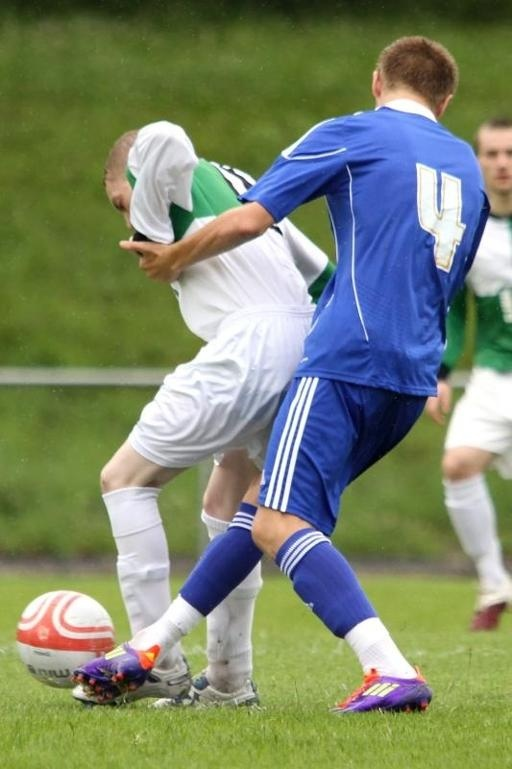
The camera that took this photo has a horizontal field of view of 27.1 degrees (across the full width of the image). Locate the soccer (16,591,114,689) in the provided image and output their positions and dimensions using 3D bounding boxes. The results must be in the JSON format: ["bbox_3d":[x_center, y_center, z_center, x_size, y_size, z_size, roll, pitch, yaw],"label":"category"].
[{"bbox_3d":[-0.511,0.684,2.867,0.267,0.252,0.247,2,3,-24],"label":"soccer"}]

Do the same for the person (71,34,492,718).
[{"bbox_3d":[0.168,-0.018,2.619,0.849,1.590,1.026,10,23,20],"label":"person"}]

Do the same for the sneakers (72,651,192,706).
[{"bbox_3d":[-0.319,0.746,2.753,0.358,0.149,0.115,4,-4,-27],"label":"sneakers"}]

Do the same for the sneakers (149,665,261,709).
[{"bbox_3d":[-0.135,0.820,2.859,0.299,0.115,0.096,2,-13,-4],"label":"sneakers"}]

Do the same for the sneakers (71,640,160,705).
[{"bbox_3d":[-0.338,0.705,2.562,0.134,0.197,0.093,35,34,-26],"label":"sneakers"}]

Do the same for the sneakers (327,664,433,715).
[{"bbox_3d":[0.283,0.671,2.335,0.191,0.080,0.094,-1,-3,-2],"label":"sneakers"}]
